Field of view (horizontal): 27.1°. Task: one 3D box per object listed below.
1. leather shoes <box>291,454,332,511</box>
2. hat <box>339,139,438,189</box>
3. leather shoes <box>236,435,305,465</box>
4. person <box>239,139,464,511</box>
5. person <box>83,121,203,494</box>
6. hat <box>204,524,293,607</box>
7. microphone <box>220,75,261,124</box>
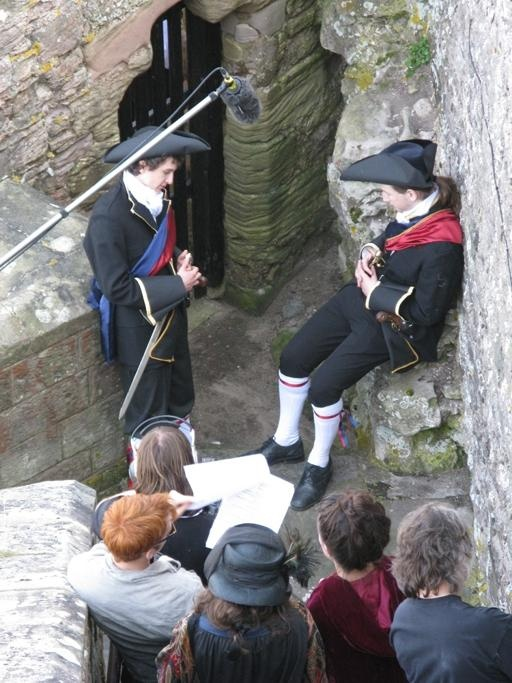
[{"bbox_3d":[0.253,0.622,4.726,0.141,0.130,0.346,27,39,10],"label":"leather shoes"},{"bbox_3d":[0.505,-0.670,4.034,0.329,0.094,0.208,1,47,13],"label":"hat"},{"bbox_3d":[0.105,0.521,4.947,0.381,0.121,0.118,-2,10,-6],"label":"leather shoes"},{"bbox_3d":[0.414,-0.039,4.419,0.851,1.611,0.507,-5,34,1],"label":"person"},{"bbox_3d":[-0.437,-0.220,4.336,0.617,1.281,0.635,3,8,12],"label":"person"},{"bbox_3d":[-0.024,0.602,2.793,0.216,0.086,0.222,1,43,-5],"label":"hat"},{"bbox_3d":[-0.058,-0.887,3.886,0.129,0.226,0.173,-1,32,7],"label":"microphone"}]
